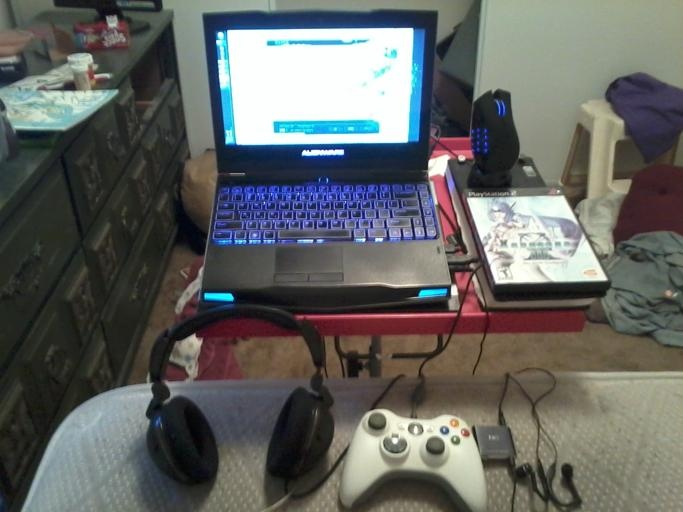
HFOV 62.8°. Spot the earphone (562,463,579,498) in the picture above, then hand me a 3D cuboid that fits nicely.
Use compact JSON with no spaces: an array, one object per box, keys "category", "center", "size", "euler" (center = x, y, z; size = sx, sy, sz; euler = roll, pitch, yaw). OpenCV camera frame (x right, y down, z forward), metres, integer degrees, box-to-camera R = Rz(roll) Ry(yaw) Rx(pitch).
[{"category":"earphone","center":[0.385,0.381,0.949],"size":[0.017,0.014,0.049],"euler":[-12,66,-11]}]

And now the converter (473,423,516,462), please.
[{"category":"converter","center":[0.270,0.330,0.985],"size":[0.068,0.032,0.054],"euler":[-4,38,0]}]

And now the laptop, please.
[{"category":"laptop","center":[-0.041,-0.157,1.292],"size":[0.519,0.411,0.612],"euler":[-1,62,0]}]

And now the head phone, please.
[{"category":"head phone","center":[-0.182,0.232,0.953],"size":[0.329,0.242,0.191],"euler":[-4,37,0]}]

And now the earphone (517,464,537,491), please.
[{"category":"earphone","center":[0.316,0.378,0.959],"size":[0.022,0.022,0.042],"euler":[-12,59,-3]}]
